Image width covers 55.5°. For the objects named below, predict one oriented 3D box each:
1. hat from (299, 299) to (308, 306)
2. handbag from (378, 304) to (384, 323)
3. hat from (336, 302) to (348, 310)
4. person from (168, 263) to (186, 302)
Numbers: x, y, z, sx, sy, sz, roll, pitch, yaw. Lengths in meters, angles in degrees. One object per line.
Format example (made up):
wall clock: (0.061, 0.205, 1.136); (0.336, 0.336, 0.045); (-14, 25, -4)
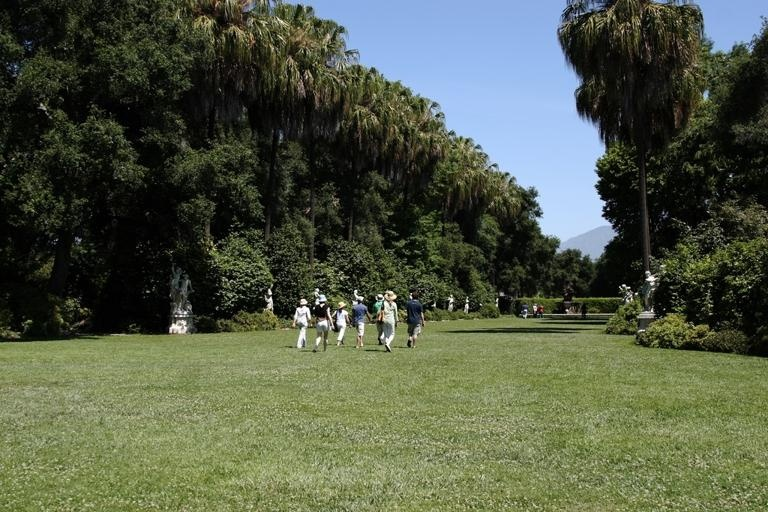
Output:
hat: (-3.136, 1.793, 28.372); (0.484, 0.232, 0.653); (-4, -3, -6)
handbag: (-0.131, 2.161, 27.678); (0.214, 0.578, 0.292); (-1, 8, -6)
hat: (-1.637, 1.932, 28.869); (0.486, 0.172, 0.548); (-24, -1, 17)
person: (-10.906, 1.411, 38.807); (0.664, 1.971, 1.034); (-2, 8, -16)
